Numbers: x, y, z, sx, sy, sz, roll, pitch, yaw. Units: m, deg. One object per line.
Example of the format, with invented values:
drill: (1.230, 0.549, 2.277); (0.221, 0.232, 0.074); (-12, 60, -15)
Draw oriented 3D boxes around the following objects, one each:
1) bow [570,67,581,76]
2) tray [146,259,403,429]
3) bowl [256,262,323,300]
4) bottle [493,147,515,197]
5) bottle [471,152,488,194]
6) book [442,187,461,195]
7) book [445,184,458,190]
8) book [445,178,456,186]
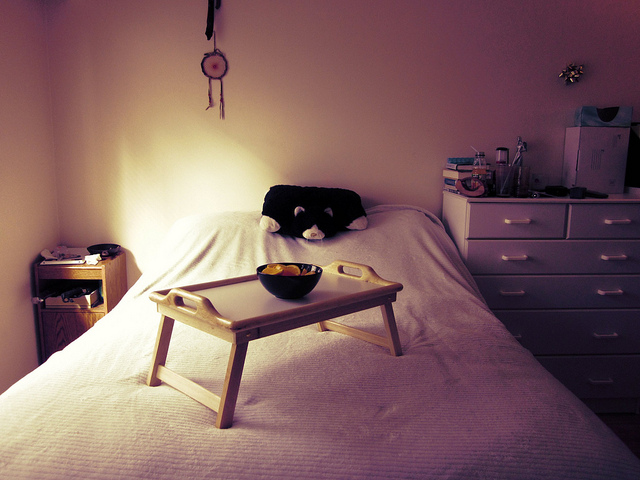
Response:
bow: (1.518, -1.001, 2.888); (0.025, 0.044, 0.010); (51, 1, 25)
tray: (-0.133, 0.313, 1.795); (0.822, 0.380, 0.545); (-7, 10, -41)
bowl: (-0.107, 0.137, 1.696); (0.220, 0.092, 0.193); (1, 12, 8)
bottle: (1.038, -0.378, 2.718); (0.126, 0.276, 0.109); (-12, 13, 6)
bottle: (0.899, -0.379, 2.722); (0.092, 0.220, 0.281); (4, 13, 17)
book: (0.778, -0.293, 2.866); (0.049, 0.016, 0.069); (10, 1, -36)
book: (0.773, -0.314, 2.849); (0.075, 0.017, 0.069); (2, 1, -9)
book: (0.772, -0.345, 2.878); (0.012, 0.035, 0.052); (3, 0, -34)
